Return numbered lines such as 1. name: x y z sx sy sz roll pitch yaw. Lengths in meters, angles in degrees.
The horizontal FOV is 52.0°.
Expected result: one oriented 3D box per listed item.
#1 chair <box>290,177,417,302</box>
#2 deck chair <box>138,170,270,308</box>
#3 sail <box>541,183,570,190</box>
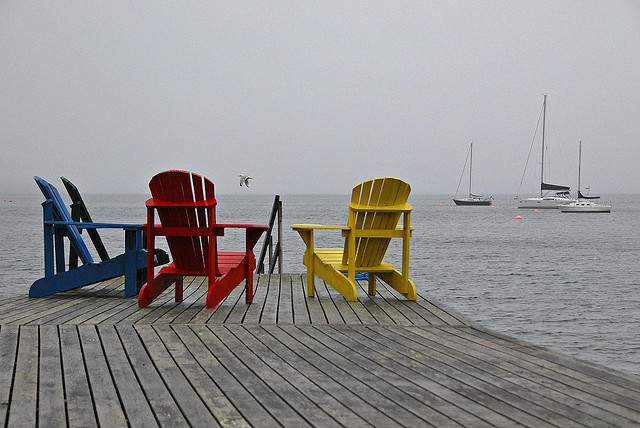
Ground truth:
1. chair: 0.614 0.444 10.018 1.585 1.668 1.909 3 -3 -29
2. deck chair: -1.702 0.347 9.087 1.536 1.883 0.814 1 4 -14
3. sail: 28.890 -3.304 80.988 1.141 0.809 4.815 1 4 -17
